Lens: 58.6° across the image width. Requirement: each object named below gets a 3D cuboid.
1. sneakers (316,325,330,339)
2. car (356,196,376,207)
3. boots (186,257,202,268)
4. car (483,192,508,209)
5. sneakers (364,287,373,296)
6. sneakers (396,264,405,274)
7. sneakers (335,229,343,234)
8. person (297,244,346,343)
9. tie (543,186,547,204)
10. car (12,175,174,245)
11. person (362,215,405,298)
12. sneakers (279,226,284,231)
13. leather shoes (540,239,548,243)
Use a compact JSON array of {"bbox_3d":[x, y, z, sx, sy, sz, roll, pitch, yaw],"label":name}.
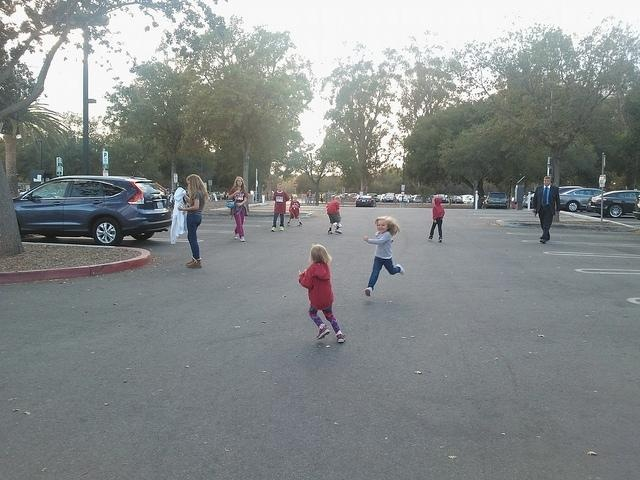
[{"bbox_3d":[0.011,1.153,7.047,0.087,0.112,0.236,-32,-9,-35],"label":"sneakers"},{"bbox_3d":[4.962,-4.278,62.775,1.315,0.991,3.065,2,9,10],"label":"car"},{"bbox_3d":[-2.797,0.499,12.568,0.321,0.218,0.166,2,6,8],"label":"boots"},{"bbox_3d":[18.046,-4.092,58.642,2.049,1.641,1.589,2,6,9],"label":"car"},{"bbox_3d":[0.784,0.862,9.457,0.074,0.087,0.191,35,-18,16],"label":"sneakers"},{"bbox_3d":[1.574,0.573,11.265,0.132,0.123,0.297,-17,-24,25],"label":"sneakers"},{"bbox_3d":[0.783,-0.343,23.504,0.240,0.224,0.101,-5,48,-6],"label":"sneakers"},{"bbox_3d":[0.024,0.613,7.377,0.567,1.166,1.093,1,6,-2],"label":"person"},{"bbox_3d":[7.559,-1.516,19.187,0.182,0.603,0.286,3,7,21],"label":"tie"},{"bbox_3d":[-6.576,-0.887,16.677,3.949,1.548,1.917,3,2,5],"label":"car"},{"bbox_3d":[1.149,0.232,10.230,0.653,1.383,2.507,2,6,8],"label":"person"},{"bbox_3d":[-1.670,-0.509,24.597,0.187,0.254,0.542,-1,-3,1],"label":"sneakers"},{"bbox_3d":[7.442,0.019,19.092,0.218,0.127,0.435,5,7,31],"label":"leather shoes"}]
